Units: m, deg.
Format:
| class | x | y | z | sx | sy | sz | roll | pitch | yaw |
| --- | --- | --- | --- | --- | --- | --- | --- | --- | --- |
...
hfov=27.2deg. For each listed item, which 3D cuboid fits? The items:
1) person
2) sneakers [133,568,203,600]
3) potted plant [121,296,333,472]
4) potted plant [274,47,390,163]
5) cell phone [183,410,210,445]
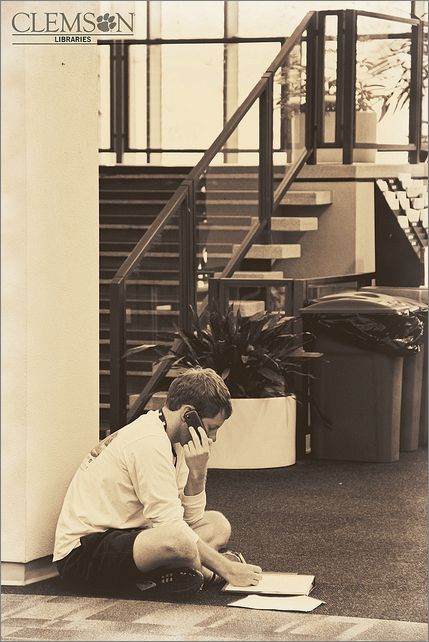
| class | x | y | z | sx | sy | sz | roll | pitch | yaw |
| --- | --- | --- | --- | --- | --- | --- | --- | --- | --- |
| person | -0.186 | 0.532 | 3.224 | 0.755 | 0.728 | 0.742 | 1 | -7 | 11 |
| sneakers | -0.135 | 0.853 | 2.954 | 0.282 | 0.091 | 0.117 | -1 | 13 | 6 |
| potted plant | 0.041 | 0.372 | 5.842 | 1.175 | 1.082 | 1.025 | 0 | 0 | -17 |
| potted plant | 1.301 | -2.236 | 8.895 | 0.537 | 0.952 | 0.553 | 10 | 16 | 35 |
| cell phone | -0.069 | 0.346 | 2.929 | 0.044 | 0.089 | 0.021 | -28 | 25 | -6 |
